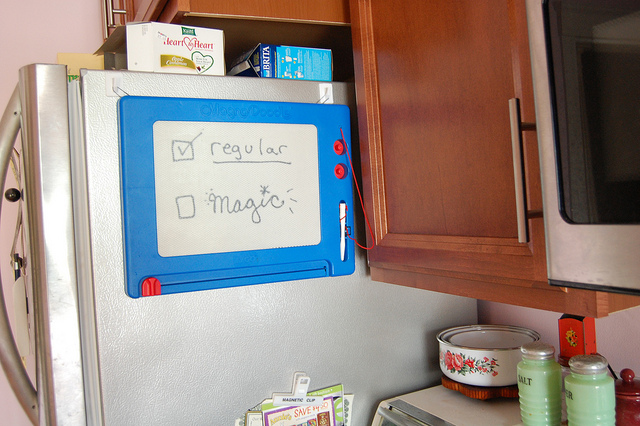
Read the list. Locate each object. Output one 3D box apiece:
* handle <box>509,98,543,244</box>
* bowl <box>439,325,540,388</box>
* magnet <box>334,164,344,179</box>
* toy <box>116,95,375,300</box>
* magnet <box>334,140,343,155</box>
[{"bbox_3d":[0.406,-0.086,1.048,0.055,0.280,0.051,-5,5,-3],"label":"handle"},{"bbox_3d":[0.473,0.365,1.509,0.214,0.075,0.198,0,-1,0],"label":"bowl"},{"bbox_3d":[0.055,-0.117,1.475,0.032,0.032,0.011,-4,-3,-15],"label":"magnet"},{"bbox_3d":[-0.216,-0.047,1.381,0.714,0.543,0.143,-2,-1,-24],"label":"toy"},{"bbox_3d":[0.052,-0.181,1.472,0.031,0.031,0.007,12,-9,-42],"label":"magnet"}]
